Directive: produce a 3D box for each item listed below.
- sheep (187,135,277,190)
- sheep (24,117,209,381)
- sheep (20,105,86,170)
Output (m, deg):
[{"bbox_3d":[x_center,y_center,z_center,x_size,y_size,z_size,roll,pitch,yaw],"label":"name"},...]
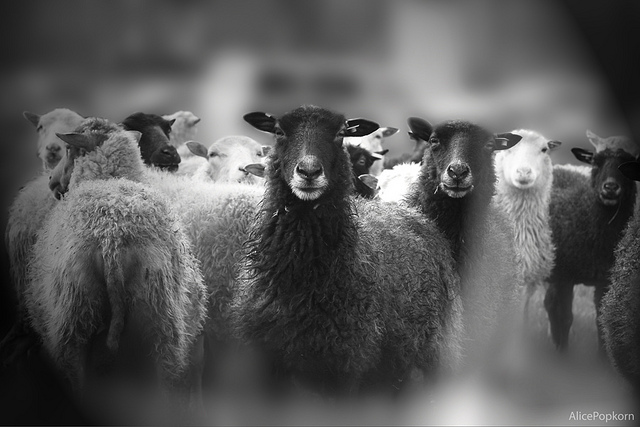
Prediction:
[{"bbox_3d":[-0.537,-0.314,4.754,0.598,0.312,0.607,-4,7,-14],"label":"sheep"},{"bbox_3d":[-1.301,0.284,5.046,1.115,1.322,1.770,-4,19,-14],"label":"sheep"},{"bbox_3d":[-1.568,-0.408,4.693,0.372,0.436,0.642,2,9,-17],"label":"sheep"}]
